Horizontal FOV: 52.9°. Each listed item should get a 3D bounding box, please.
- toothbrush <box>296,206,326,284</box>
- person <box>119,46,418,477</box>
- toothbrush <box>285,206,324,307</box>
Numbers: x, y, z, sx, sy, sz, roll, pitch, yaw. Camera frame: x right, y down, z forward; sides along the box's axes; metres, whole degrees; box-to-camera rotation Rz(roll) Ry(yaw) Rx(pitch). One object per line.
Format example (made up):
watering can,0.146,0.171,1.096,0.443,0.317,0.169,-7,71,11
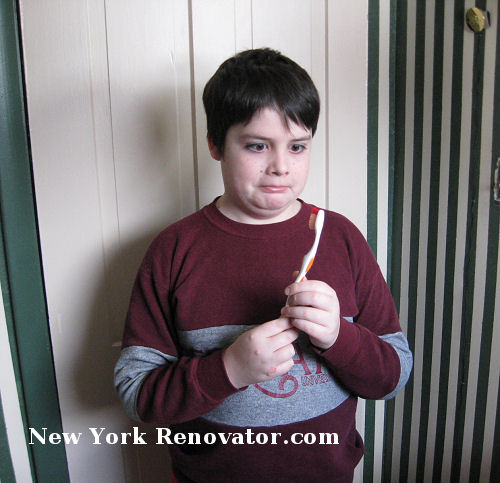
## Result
toothbrush,0.111,0.011,0.933,0.016,0.022,0.163,13,55,9
person,0.026,0.061,0.938,0.563,0.829,0.250,-5,9,-12
toothbrush,0.097,0.034,0.913,0.019,0.022,0.203,14,63,17
